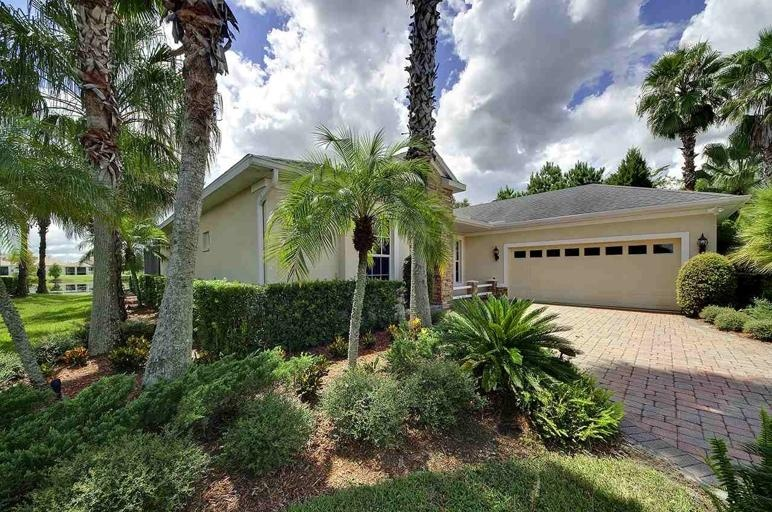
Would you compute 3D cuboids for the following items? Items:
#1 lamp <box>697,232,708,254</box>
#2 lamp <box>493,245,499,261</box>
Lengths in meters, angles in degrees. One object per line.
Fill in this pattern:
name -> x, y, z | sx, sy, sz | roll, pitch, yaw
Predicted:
lamp -> 11.668, -0.489, 15.656 | 0.330, 0.722, 0.212 | -4, -3, 33
lamp -> 5.213, -0.097, 20.204 | 0.305, 0.684, 0.072 | -3, -3, 30
